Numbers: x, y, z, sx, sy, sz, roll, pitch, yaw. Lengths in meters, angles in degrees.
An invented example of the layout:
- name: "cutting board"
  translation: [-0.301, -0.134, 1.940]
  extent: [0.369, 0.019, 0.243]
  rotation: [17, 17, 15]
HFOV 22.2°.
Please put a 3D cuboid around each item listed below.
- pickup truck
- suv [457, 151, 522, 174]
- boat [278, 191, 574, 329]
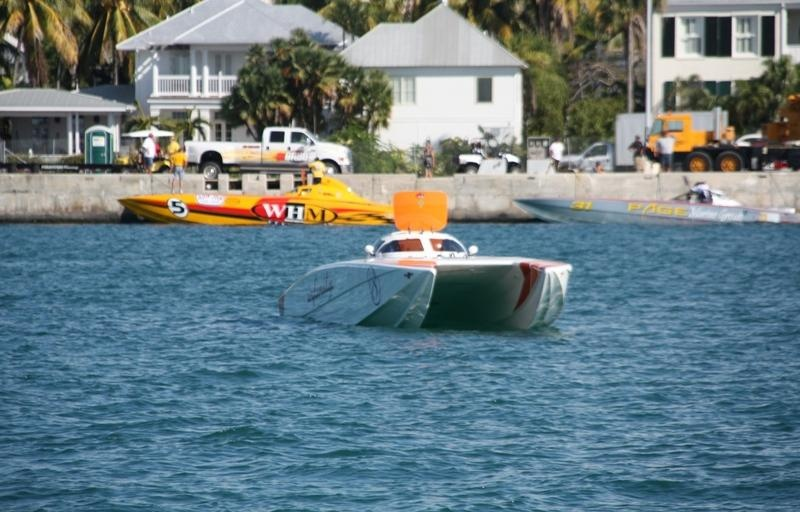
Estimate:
- name: "pickup truck"
  translation: [-6.014, -4.790, 95.780]
  extent: [7.864, 2.077, 2.859]
  rotation: [-1, 3, -1]
- name: "suv"
  translation: [4.326, -4.522, 99.558]
  extent: [3.056, 0.895, 3.887]
  rotation: [0, 3, -11]
- name: "boat"
  translation: [0.979, 0.421, 76.297]
  extent: [8.931, 3.360, 4.814]
  rotation: [0, -1, 34]
